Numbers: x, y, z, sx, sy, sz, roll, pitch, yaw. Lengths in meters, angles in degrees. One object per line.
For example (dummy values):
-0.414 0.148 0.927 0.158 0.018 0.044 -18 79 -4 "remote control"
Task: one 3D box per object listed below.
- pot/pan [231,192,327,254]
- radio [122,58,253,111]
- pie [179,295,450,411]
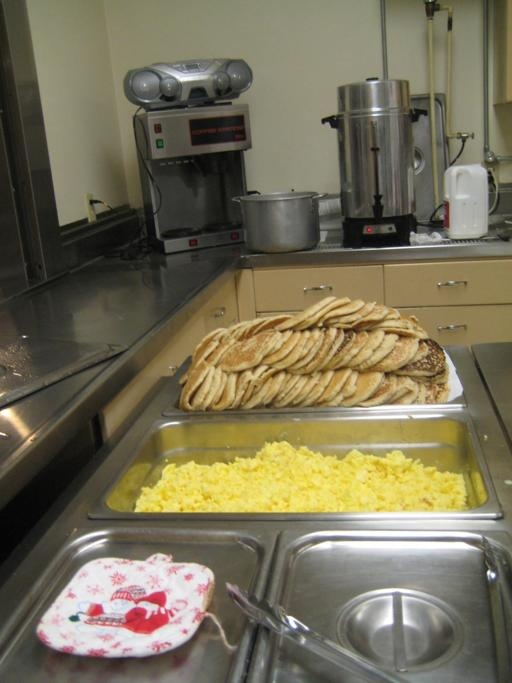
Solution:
0.111 -0.522 2.314 0.337 0.252 0.171 -4 19 2 "pot/pan"
-0.312 -1.216 2.430 0.573 0.179 0.268 -16 37 -16 "radio"
0.093 0.010 0.919 0.488 0.169 0.181 -1 19 9 "pie"
